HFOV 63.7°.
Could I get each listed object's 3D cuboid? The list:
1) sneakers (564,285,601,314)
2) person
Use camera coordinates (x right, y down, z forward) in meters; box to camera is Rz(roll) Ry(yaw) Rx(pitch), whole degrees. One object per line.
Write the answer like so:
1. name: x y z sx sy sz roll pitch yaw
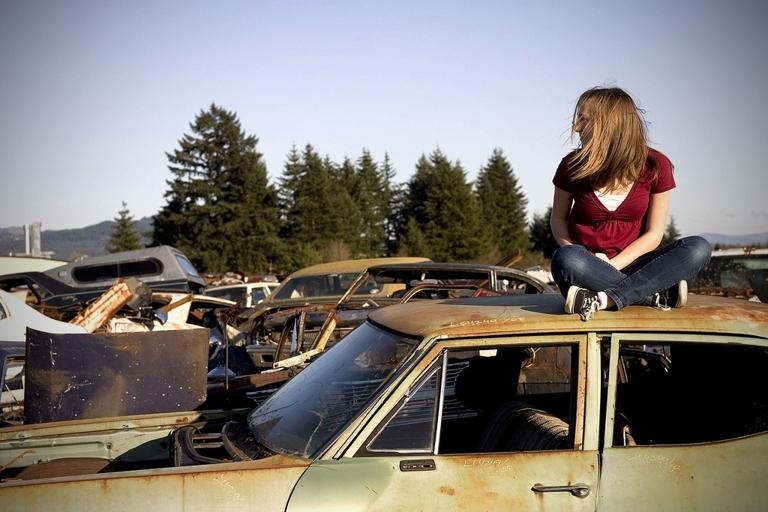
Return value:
1. sneakers: 1.172 0.269 3.672 0.185 0.108 0.080 -1 1 16
2. person: 1.540 -0.402 4.061 0.916 1.408 1.073 -3 3 13
